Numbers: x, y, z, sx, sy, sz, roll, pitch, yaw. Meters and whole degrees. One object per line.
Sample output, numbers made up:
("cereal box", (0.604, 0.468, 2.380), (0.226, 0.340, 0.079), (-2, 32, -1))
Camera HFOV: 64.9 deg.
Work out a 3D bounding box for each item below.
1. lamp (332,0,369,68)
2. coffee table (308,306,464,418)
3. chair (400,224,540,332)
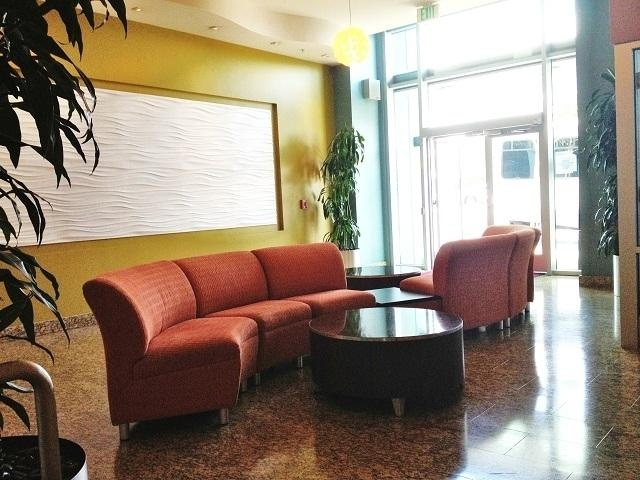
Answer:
("lamp", (0.346, -2.157, 5.549), (0.381, 0.414, 0.224), (-2, 8, 6))
("coffee table", (0.504, 0.732, 3.495), (0.744, 0.391, 0.760), (-3, -3, 32))
("chair", (1.420, 0.055, 4.957), (0.939, 0.818, 1.730), (3, 5, 44))
